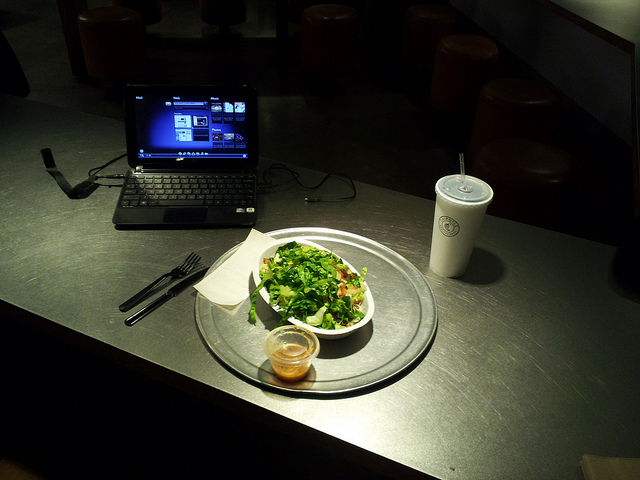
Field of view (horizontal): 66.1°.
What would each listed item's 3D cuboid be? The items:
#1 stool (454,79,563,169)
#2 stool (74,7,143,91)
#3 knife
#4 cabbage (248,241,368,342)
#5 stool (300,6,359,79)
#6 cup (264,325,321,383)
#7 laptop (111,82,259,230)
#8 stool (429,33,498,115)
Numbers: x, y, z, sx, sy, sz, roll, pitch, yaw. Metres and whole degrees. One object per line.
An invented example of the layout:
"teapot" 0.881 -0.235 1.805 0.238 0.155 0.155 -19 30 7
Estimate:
"stool" 1.109 -0.721 3.145 0.512 0.598 0.548 -1 33 4
"stool" -1.500 -1.443 3.830 0.528 0.588 0.547 6 43 -9
"knife" -0.379 0.155 1.250 0.030 0.025 0.233 34 47 27
"cabbage" -0.029 0.113 1.207 0.189 0.090 0.268 -29 46 -30
"stool" 0.031 -1.526 3.915 0.493 0.469 0.502 -10 45 -12
"cup" -0.062 0.237 1.099 0.113 0.073 0.116 3 43 -3
"laptop" -0.407 -0.255 1.487 0.425 0.266 0.353 0 48 -2
"stool" 0.970 -1.141 3.573 0.471 0.524 0.548 6 42 8
